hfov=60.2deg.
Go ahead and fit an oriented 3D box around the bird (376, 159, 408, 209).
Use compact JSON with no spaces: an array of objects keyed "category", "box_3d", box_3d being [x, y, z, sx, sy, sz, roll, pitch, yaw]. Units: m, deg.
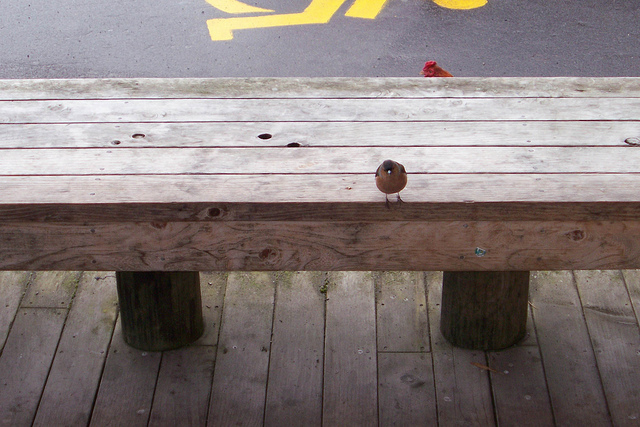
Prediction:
[{"category":"bird","box_3d":[0.270,-0.127,2.170,0.150,0.162,0.226,-8,12,4]}]
